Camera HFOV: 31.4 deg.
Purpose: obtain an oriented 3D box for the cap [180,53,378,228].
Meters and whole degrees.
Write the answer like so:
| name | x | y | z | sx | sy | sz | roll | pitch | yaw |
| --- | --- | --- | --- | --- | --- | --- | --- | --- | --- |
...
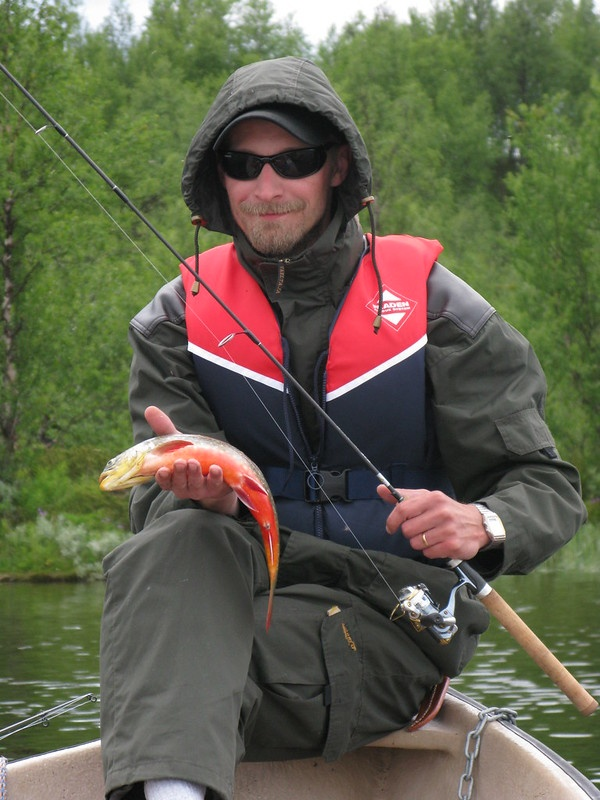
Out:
| name | x | y | z | sx | sy | sz | roll | pitch | yaw |
| --- | --- | --- | --- | --- | --- | --- | --- | --- | --- |
| cap | -0.041 | -0.638 | 2.742 | 0.507 | 0.392 | 0.476 | -1 | -11 | 3 |

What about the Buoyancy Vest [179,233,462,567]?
| name | x | y | z | sx | sy | sz | roll | pitch | yaw |
| --- | --- | --- | --- | --- | --- | --- | --- | --- | --- |
| Buoyancy Vest | 0.053 | 0.028 | 2.499 | 0.845 | 0.877 | 0.518 | -5 | -5 | 0 |
